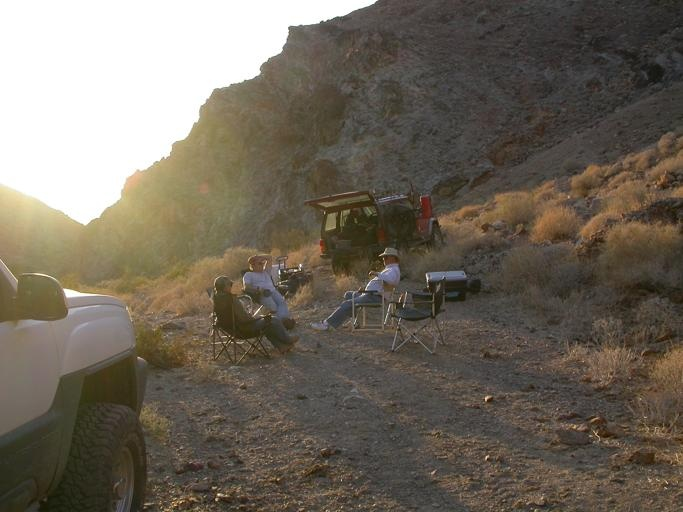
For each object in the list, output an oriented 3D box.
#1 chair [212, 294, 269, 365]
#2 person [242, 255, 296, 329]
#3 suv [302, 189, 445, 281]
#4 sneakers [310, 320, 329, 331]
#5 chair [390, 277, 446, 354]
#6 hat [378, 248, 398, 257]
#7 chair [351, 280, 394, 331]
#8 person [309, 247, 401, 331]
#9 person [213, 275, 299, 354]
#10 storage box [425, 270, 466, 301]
[{"bbox_3d":[-1.508,1.201,10.483,0.559,0.897,0.573,-9,7,-18],"label":"chair"},{"bbox_3d":[-1.280,0.602,11.734,0.578,1.456,1.051,-6,-6,-34],"label":"person"},{"bbox_3d":[1.102,-0.717,16.486,1.778,2.167,4.370,-6,7,28],"label":"suv"},{"bbox_3d":[-0.395,1.238,12.055,0.362,0.188,0.146,4,11,11],"label":"sneakers"},{"bbox_3d":[1.221,0.918,10.919,0.848,1.230,0.898,8,16,29],"label":"chair"},{"bbox_3d":[0.876,-0.094,11.896,0.235,0.161,0.295,4,13,27],"label":"hat"},{"bbox_3d":[0.571,0.966,12.060,0.632,1.088,0.922,1,-7,4],"label":"chair"},{"bbox_3d":[0.310,0.530,11.942,1.327,1.854,0.897,13,1,-11],"label":"person"},{"bbox_3d":[-1.362,0.928,10.612,1.256,1.589,0.661,-20,10,-39],"label":"person"},{"bbox_3d":[1.922,0.588,11.958,0.698,0.530,0.554,-2,4,-3],"label":"storage box"}]
